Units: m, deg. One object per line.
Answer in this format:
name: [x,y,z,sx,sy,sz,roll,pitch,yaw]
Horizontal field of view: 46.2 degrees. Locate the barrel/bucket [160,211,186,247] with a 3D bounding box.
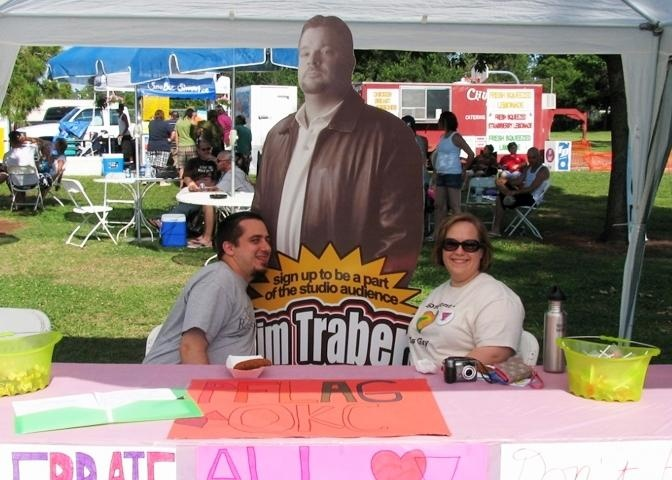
barrel/bucket: [-2.311,-0.149,11.214,0.390,0.370,0.550,1,5,-13]

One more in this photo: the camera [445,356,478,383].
camera: [0.659,0.691,4.171,0.172,0.116,0.121,-1,0,-7]

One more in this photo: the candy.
candy: [1.440,0.658,4.110,0.279,0.263,0.270,2,17,7]

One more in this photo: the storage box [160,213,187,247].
storage box: [-2.301,-0.140,11.217,0.400,0.381,0.542,1,6,-12]

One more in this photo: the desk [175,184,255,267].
desk: [-1.386,-0.263,9.534,0.728,0.812,0.711,18,25,31]

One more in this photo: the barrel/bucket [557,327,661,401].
barrel/bucket: [1.417,0.657,4.111,0.504,0.324,0.333,2,-2,19]

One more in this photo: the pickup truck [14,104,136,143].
pickup truck: [-8.233,-3.273,25.613,4.074,2.091,2.204,0,11,-9]

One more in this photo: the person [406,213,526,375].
person: [0.761,0.355,4.574,0.686,0.918,0.831,2,11,5]

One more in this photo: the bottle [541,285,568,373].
bottle: [1.144,0.486,4.262,0.139,0.442,0.167,0,6,2]

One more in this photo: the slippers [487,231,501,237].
slippers: [2.492,-0.101,12.497,0.175,0.071,0.251,3,6,19]

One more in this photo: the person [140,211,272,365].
person: [-0.731,0.326,4.897,0.811,0.909,0.537,-10,14,-43]
